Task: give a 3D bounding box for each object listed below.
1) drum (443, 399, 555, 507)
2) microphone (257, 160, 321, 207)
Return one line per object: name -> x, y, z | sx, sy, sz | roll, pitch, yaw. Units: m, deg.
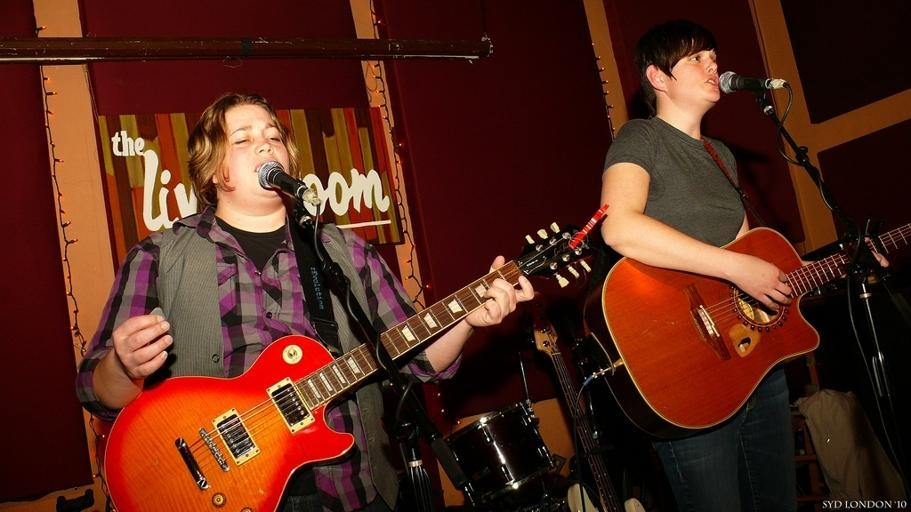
drum -> 0.346, 1.419, 4.930 | 0.870, 0.648, 0.863 | -26, -10, -5
microphone -> -1.000, -0.442, 3.748 | 0.557, 0.201, 0.193 | 23, 12, 40
